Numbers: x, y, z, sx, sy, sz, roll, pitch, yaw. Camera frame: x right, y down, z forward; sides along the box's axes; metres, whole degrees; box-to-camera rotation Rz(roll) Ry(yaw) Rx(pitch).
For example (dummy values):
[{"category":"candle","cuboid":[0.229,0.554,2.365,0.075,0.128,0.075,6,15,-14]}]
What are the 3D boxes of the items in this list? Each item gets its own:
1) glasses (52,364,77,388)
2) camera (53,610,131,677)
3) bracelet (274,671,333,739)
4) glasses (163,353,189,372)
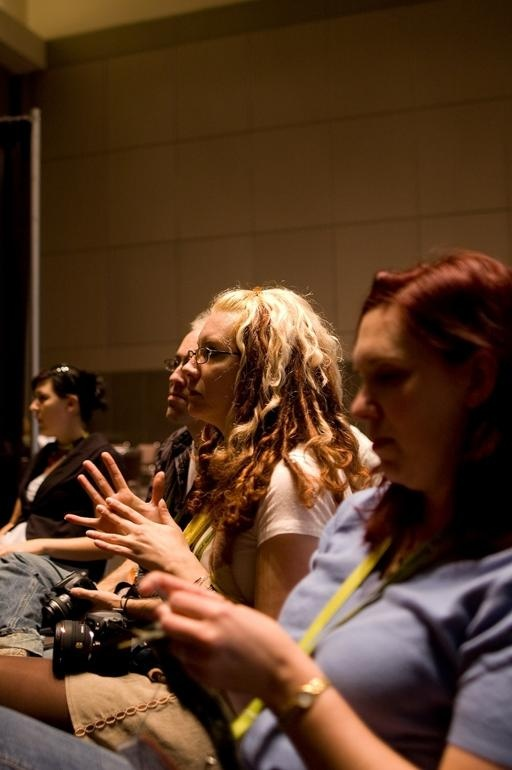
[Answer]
[{"category":"glasses","cuboid":[-0.867,-0.039,2.917,0.089,0.108,0.116,-3,-5,-10]},{"category":"camera","cuboid":[-0.297,0.463,1.183,0.159,0.096,0.129,7,-11,-31]},{"category":"bracelet","cuboid":[0.044,0.280,0.537,0.027,0.055,0.062,32,-48,-22]},{"category":"glasses","cuboid":[-0.259,-0.060,2.050,0.074,0.023,0.071,-14,7,-37]}]
